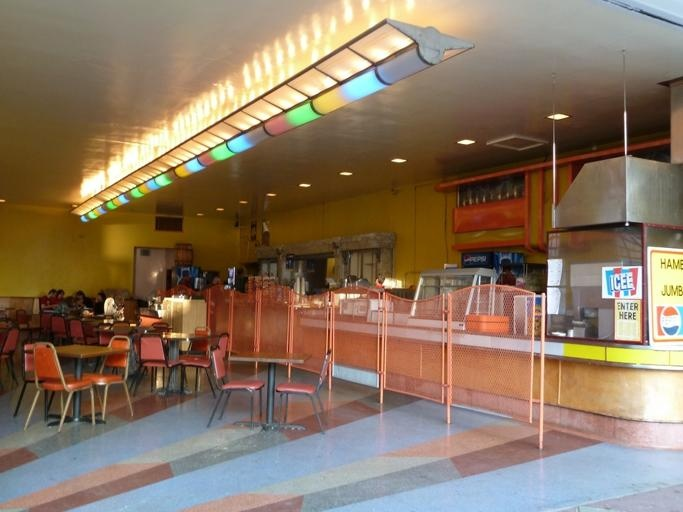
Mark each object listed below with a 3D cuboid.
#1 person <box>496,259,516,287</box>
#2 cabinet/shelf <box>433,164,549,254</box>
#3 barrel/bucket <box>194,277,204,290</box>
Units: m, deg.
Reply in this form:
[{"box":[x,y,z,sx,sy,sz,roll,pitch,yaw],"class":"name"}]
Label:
[{"box":[3.439,0.304,11.831,0.379,0.481,0.815,2,3,17],"class":"person"},{"box":[3.638,-0.847,12.851,1.064,1.914,3.445,-1,-2,-32],"class":"cabinet/shelf"},{"box":[-4.700,0.868,18.552,0.304,0.320,1.089,0,3,-14],"class":"barrel/bucket"}]
